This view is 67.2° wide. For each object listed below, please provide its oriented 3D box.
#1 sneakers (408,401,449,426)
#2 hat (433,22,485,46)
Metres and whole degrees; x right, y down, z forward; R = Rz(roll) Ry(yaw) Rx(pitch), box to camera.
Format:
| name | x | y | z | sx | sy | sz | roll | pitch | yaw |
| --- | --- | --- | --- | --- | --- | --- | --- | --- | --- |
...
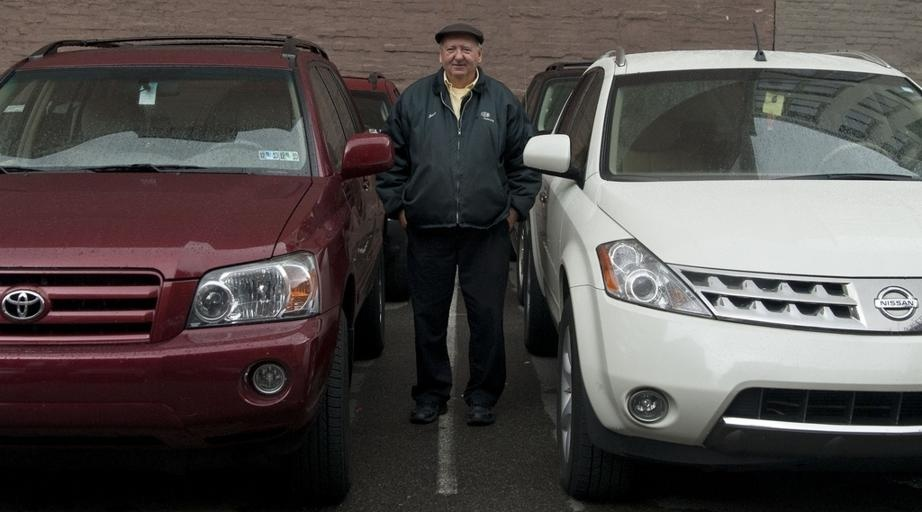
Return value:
| name | x | y | z | sx | sy | sz | roll | pitch | yaw |
| --- | --- | --- | --- | --- | --- | --- | --- | --- | --- |
| sneakers | -0.233 | 1.174 | 5.179 | 0.131 | 0.123 | 0.287 | -1 | -8 | 15 |
| hat | -0.009 | -1.634 | 5.008 | 0.314 | 0.161 | 0.323 | -2 | 35 | -4 |
